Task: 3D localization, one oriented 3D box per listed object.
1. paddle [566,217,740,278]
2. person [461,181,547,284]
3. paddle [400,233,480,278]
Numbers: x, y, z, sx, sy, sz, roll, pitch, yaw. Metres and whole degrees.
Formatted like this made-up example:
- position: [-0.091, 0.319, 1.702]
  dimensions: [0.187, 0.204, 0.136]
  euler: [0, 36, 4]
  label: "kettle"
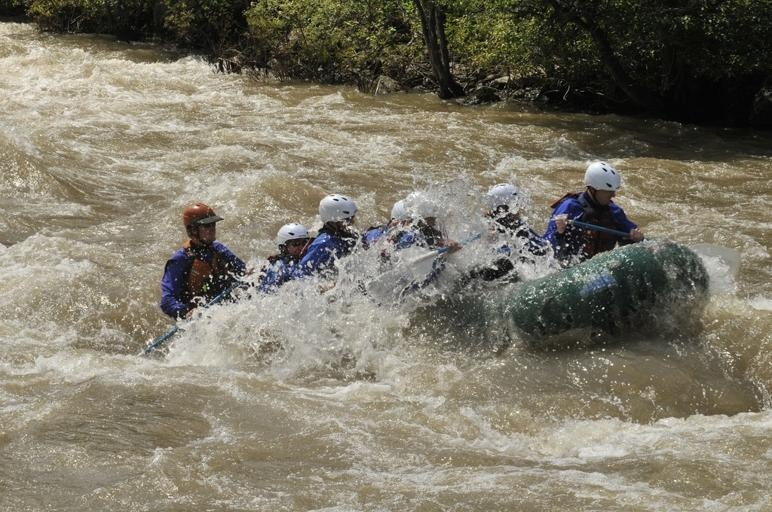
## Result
- position: [3.975, -0.298, 16.657]
  dimensions: [2.932, 0.186, 1.070]
  euler: [26, -6, 46]
  label: "paddle"
- position: [2.007, -0.382, 16.982]
  dimensions: [1.282, 0.678, 1.691]
  euler: [-22, 44, 13]
  label: "person"
- position: [0.881, -0.037, 16.507]
  dimensions: [1.374, 0.418, 0.179]
  euler: [-25, 5, -10]
  label: "paddle"
